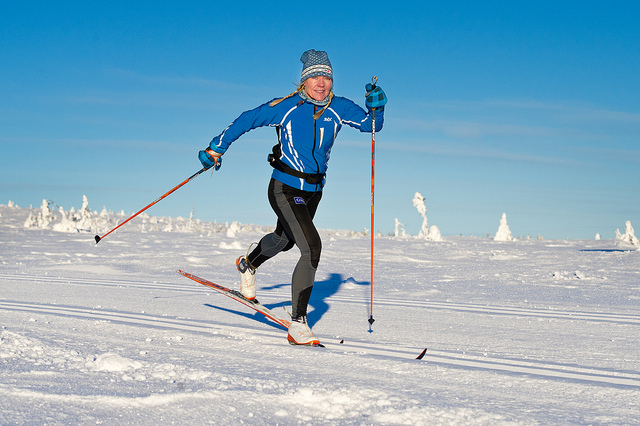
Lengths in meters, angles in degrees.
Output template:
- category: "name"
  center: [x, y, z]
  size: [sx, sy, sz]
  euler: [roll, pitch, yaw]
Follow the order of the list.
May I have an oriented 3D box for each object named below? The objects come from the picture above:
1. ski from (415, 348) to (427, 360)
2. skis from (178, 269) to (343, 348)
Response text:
- category: "ski"
  center: [1.108, 1.525, 8.172]
  size: [0.040, 0.030, 0.268]
  euler: [9, 31, 33]
- category: "skis"
  center: [-0.812, 1.299, 10.125]
  size: [2.015, 0.227, 0.099]
  euler: [25, -27, 39]
